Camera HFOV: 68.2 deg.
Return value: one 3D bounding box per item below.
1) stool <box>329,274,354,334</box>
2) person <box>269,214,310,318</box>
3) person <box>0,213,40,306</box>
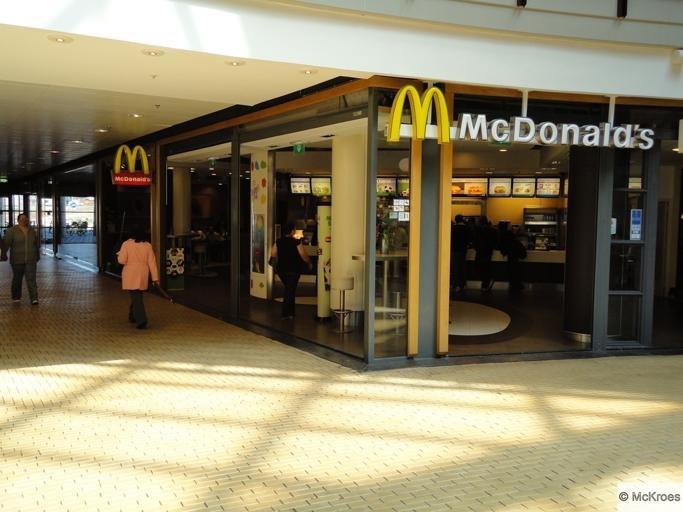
[{"bbox_3d":[0.010,0.825,8.608,0.450,0.874,0.407,3,-5,-24],"label":"stool"},{"bbox_3d":[-1.003,0.263,9.608,0.716,1.809,0.782,1,4,-7],"label":"person"},{"bbox_3d":[-7.130,0.024,11.118,0.739,1.893,1.628,-1,5,-30],"label":"person"}]
